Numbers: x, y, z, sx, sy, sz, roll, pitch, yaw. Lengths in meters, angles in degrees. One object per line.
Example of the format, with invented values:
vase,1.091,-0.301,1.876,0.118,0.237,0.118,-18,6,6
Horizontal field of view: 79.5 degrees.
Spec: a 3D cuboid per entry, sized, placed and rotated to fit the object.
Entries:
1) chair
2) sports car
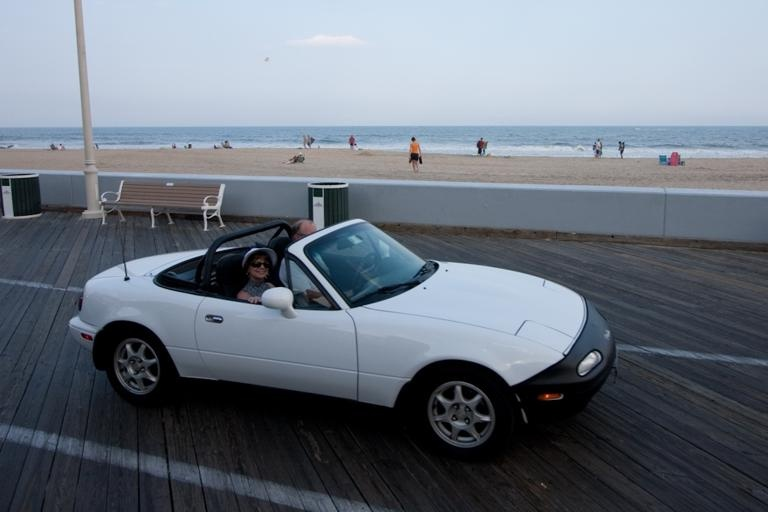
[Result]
chair,-1.370,0.169,4.659,0.639,0.501,0.466,-17,-17,41
sports car,-0.329,0.699,4.497,4.862,1.794,1.201,5,16,14
